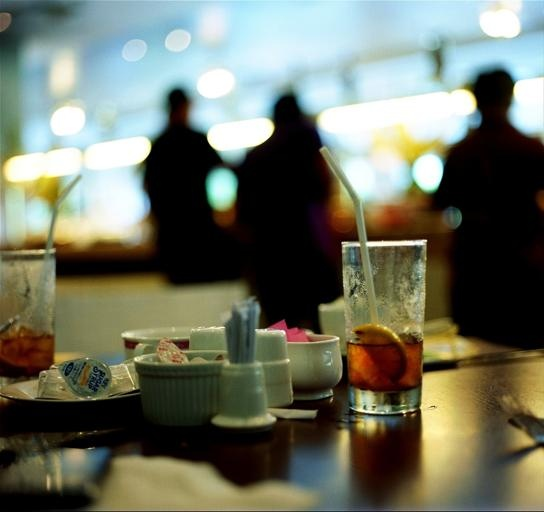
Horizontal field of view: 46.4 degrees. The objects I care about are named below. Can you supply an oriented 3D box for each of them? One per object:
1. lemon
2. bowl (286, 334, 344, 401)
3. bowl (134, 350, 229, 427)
[{"bbox_3d":[0.143,0.123,0.850,0.057,0.081,0.020,-14,14,40],"label":"lemon"},{"bbox_3d":[0.058,0.172,0.993,0.081,0.076,0.094,0,1,-22],"label":"bowl"},{"bbox_3d":[-0.125,0.192,0.866,0.097,0.066,0.105,-6,-14,-1],"label":"bowl"}]
